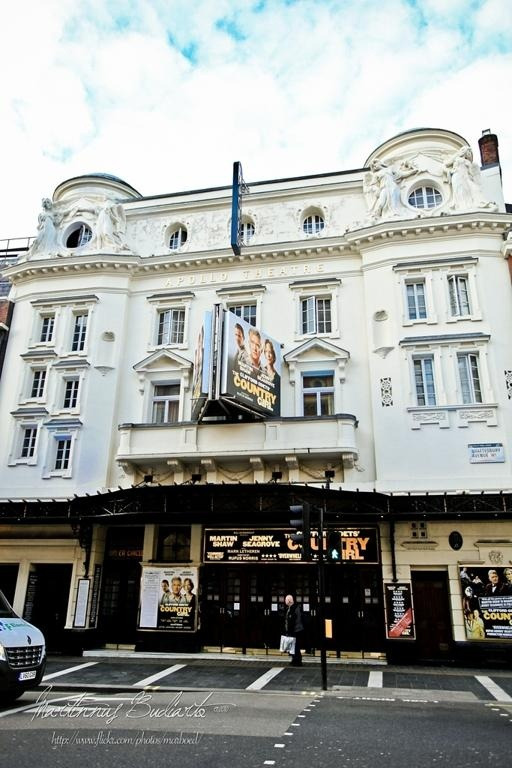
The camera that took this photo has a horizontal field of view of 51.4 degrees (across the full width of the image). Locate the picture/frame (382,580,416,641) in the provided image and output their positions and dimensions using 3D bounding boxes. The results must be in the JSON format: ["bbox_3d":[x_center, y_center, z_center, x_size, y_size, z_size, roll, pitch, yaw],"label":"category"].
[{"bbox_3d":[4.225,6.733,15.917,0.863,1.601,0.062,-1,-5,-2],"label":"picture/frame"}]

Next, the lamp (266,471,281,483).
[{"bbox_3d":[0.644,3.168,18.191,0.440,0.412,0.355,18,-27,-37],"label":"lamp"}]

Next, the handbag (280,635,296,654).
[{"bbox_3d":[0.846,6.942,14.221,0.404,0.424,0.600,0,-22,3],"label":"handbag"}]

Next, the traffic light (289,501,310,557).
[{"bbox_3d":[0.908,3.043,11.158,0.396,1.223,0.879,0,-22,4],"label":"traffic light"}]

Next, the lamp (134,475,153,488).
[{"bbox_3d":[-3.872,3.432,18.854,0.783,0.366,0.523,-6,-8,11],"label":"lamp"}]

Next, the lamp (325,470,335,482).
[{"bbox_3d":[2.454,3.055,17.796,0.320,0.355,0.363,-2,-2,-3],"label":"lamp"}]

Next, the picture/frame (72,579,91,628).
[{"bbox_3d":[-5.859,7.379,17.980,0.483,1.525,0.047,-6,-20,20],"label":"picture/frame"}]

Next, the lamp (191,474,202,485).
[{"bbox_3d":[-2.100,3.346,18.707,0.311,0.316,0.313,4,-21,-15],"label":"lamp"}]
